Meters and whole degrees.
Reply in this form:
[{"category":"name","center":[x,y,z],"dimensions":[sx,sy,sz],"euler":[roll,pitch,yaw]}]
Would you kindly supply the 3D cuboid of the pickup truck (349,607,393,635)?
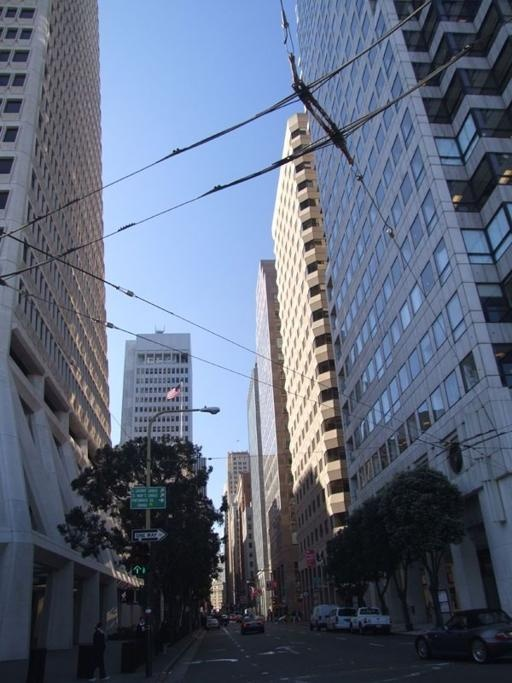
[{"category":"pickup truck","center":[5.707,13.925,29.115],"dimensions":[1.085,1.305,2.856],"euler":[1,-34,-1]}]
